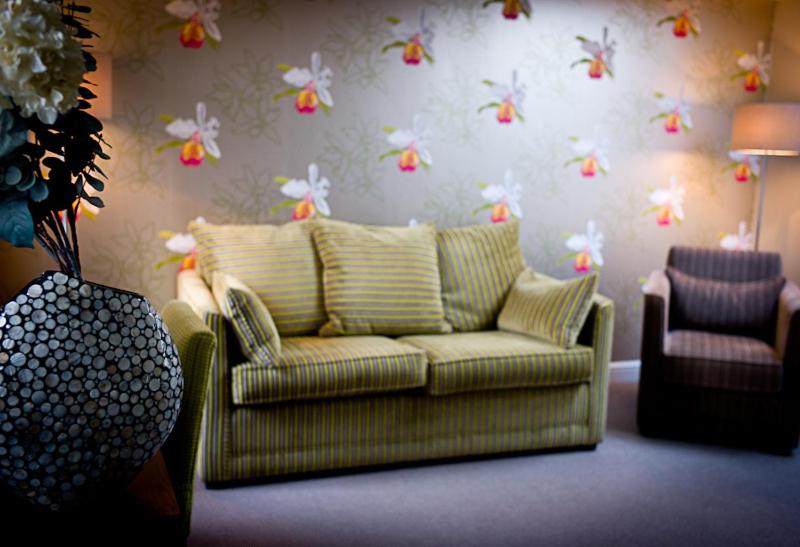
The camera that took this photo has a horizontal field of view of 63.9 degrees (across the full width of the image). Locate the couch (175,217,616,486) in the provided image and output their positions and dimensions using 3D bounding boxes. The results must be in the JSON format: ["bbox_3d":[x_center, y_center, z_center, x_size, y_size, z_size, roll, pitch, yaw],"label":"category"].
[{"bbox_3d":[-0.022,0.348,3.356,2.089,1.182,0.930,0,6,-20],"label":"couch"}]
